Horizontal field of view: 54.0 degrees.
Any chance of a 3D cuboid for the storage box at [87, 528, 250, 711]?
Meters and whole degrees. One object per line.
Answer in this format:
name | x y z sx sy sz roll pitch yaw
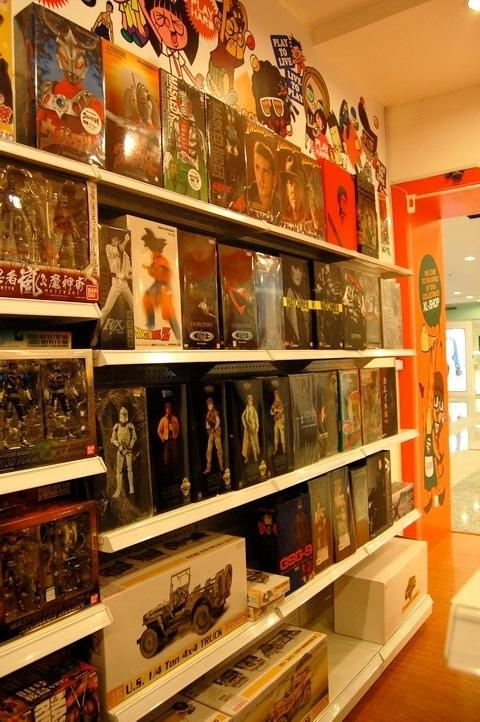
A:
storage box | -0.205 0.674 1.309 0.214 0.372 0.601 -4 0 33
